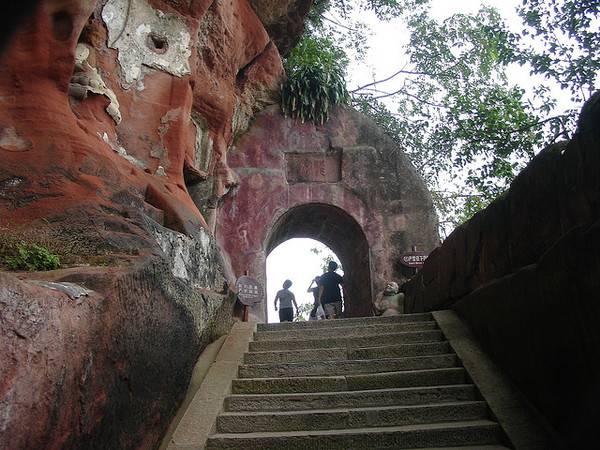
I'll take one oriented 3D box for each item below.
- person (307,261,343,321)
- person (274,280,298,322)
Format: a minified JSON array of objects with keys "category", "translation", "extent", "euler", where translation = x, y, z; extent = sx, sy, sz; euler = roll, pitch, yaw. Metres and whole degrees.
[{"category":"person","translation":[0.565,1.450,10.113],"extent":[0.715,1.434,1.196],"euler":[-1,-22,1]},{"category":"person","translation":[-0.303,1.703,9.765],"extent":[0.391,0.244,1.247],"euler":[4,-66,0]}]
